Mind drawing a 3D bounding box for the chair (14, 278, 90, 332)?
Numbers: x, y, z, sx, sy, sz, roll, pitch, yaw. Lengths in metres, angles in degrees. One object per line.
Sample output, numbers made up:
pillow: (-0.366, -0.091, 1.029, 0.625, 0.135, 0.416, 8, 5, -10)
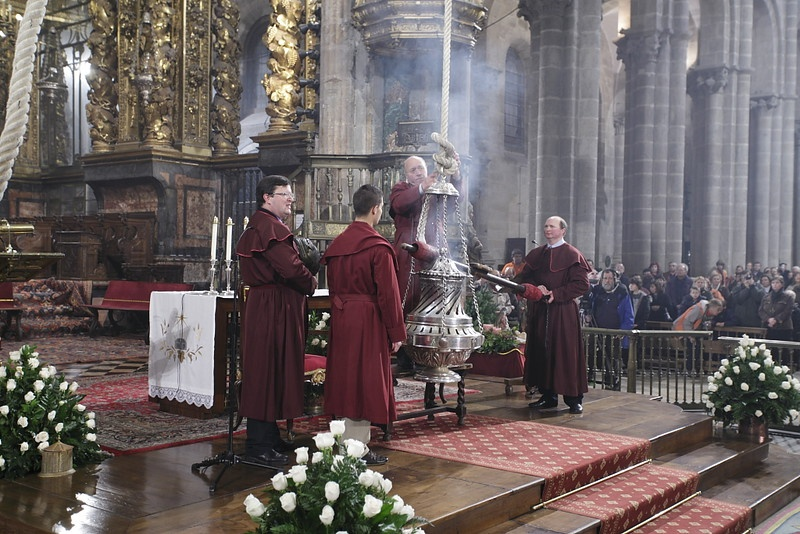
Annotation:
chair: (-7.290, 0.797, 19.879, 1.524, 0.770, 1.366, 0, 0, -28)

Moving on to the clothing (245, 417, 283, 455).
clothing: (-1.745, 2.118, 12.230, 0.407, 0.546, 0.598, -9, -7, 30)

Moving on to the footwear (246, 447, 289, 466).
footwear: (-1.666, 2.373, 11.909, 0.547, 0.220, 0.201, 1, -3, 0)

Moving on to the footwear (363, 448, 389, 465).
footwear: (-0.342, 2.427, 12.065, 0.418, 0.168, 0.136, 1, -4, -3)

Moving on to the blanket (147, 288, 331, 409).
blanket: (-3.014, 1.149, 14.254, 1.237, 1.468, 2.057, -1, 2, 5)

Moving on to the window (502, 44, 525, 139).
window: (3.788, -5.483, 31.129, 0.313, 2.978, 1.114, 1, 0, 37)
